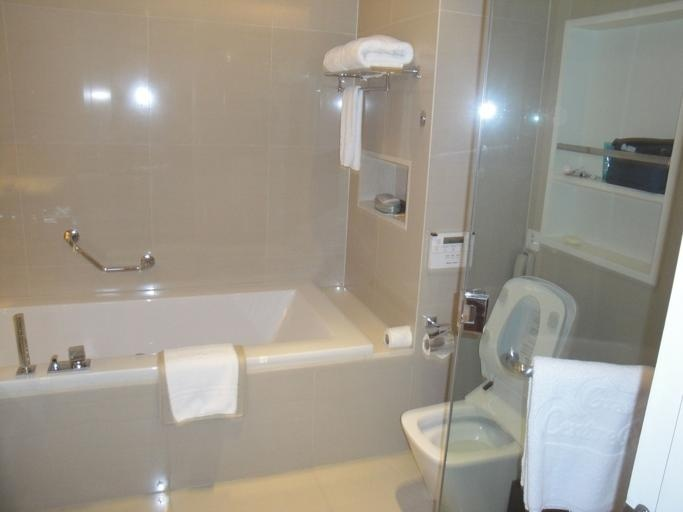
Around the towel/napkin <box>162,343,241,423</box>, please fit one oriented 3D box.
[{"bbox_3d":[-0.646,0.588,2.453,0.351,0.304,0.232,-11,-44,-22],"label":"towel/napkin"}]

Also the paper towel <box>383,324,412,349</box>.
[{"bbox_3d":[0.304,0.429,2.784,0.134,0.108,0.125,-1,-87,-15],"label":"paper towel"}]

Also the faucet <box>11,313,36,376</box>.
[{"bbox_3d":[-1.422,0.386,2.345,0.078,0.321,0.298,0,-50,-31],"label":"faucet"}]
